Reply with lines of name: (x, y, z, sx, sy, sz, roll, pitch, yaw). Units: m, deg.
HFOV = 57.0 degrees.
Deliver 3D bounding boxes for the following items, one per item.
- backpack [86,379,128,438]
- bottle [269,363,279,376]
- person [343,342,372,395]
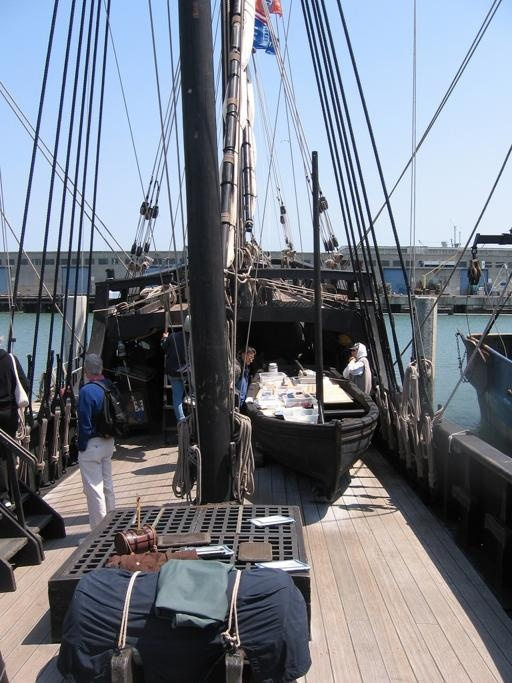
backpack: (-1.118, 0.508, 3.571, 0.216, 0.441, 0.255, -8, 5, -21)
bottle: (0.254, 0.429, 7.183, 0.114, 0.239, 0.137, 0, 5, 24)
person: (1.427, 0.428, 6.534, 0.253, 0.992, 0.342, 0, 35, 12)
